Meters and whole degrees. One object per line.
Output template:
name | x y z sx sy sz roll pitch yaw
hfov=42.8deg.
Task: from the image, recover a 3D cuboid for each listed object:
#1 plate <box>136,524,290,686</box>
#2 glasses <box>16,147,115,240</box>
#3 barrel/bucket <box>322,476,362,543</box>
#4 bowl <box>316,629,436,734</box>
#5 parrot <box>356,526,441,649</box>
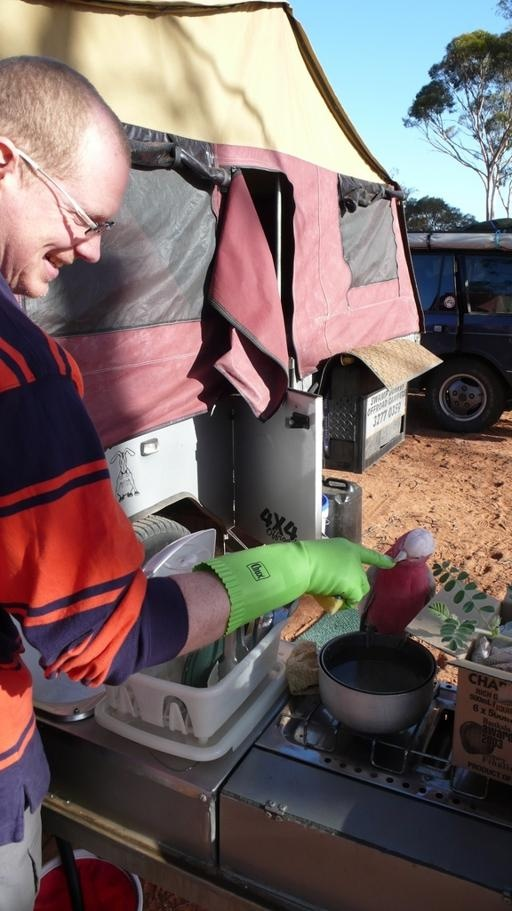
plate | -0.195 0.385 1.916 0.492 0.385 0.439 7 18 25
glasses | -0.264 -0.372 0.924 0.074 0.075 0.084 12 20 40
barrel/bucket | 0.498 0.319 3.821 0.229 0.444 0.231 -3 28 1
bowl | 0.282 0.565 1.566 0.266 0.183 0.291 0 13 0
parrot | 0.517 0.453 2.317 0.346 0.454 0.281 6 11 18
